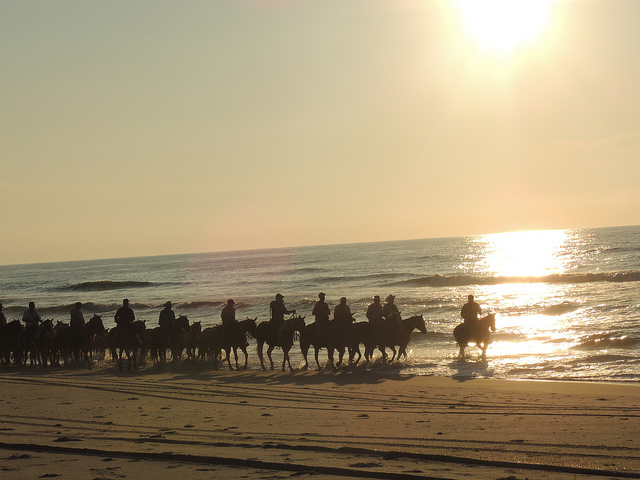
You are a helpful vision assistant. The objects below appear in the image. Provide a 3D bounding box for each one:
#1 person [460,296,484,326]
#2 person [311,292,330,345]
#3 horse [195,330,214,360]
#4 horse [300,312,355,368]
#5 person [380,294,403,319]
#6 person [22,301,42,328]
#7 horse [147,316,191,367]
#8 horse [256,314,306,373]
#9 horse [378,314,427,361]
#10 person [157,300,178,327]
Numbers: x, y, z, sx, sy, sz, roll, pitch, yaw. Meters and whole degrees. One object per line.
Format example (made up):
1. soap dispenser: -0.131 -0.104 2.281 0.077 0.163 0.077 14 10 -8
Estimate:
1. person: 5.664 2.678 32.995 0.637 1.025 0.712 -1 0 -39
2. person: 0.103 2.931 31.928 0.586 1.704 0.973 -1 0 -6
3. horse: -4.407 4.141 34.193 0.515 1.034 2.264 -1 0 -9
4. horse: 0.280 3.731 32.126 1.881 1.799 0.689 -1 0 2
5. person: 2.801 2.548 33.238 0.831 1.157 0.812 1 -7 -25
6. person: -10.847 2.925 33.328 0.596 0.798 1.363 -1 0 -19
7. horse: -5.606 3.812 32.730 0.850 1.436 1.164 -1 0 35
8. horse: -1.419 3.874 32.282 2.756 2.126 0.743 -1 -4 43
9. horse: 2.734 3.811 32.990 2.674 1.513 0.655 -5 11 -17
10. person: -5.573 2.784 32.361 0.544 0.827 1.223 -1 0 -11
